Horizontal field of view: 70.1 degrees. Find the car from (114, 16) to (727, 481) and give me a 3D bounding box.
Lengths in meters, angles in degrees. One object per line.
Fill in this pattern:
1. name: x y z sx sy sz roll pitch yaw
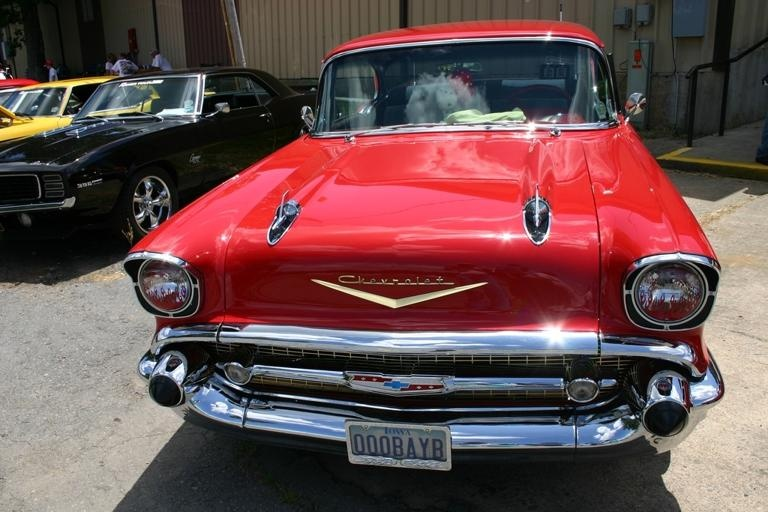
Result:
1. car: 0.696 -0.283 4.119 2.256 1.658 3.868 1 17 15
